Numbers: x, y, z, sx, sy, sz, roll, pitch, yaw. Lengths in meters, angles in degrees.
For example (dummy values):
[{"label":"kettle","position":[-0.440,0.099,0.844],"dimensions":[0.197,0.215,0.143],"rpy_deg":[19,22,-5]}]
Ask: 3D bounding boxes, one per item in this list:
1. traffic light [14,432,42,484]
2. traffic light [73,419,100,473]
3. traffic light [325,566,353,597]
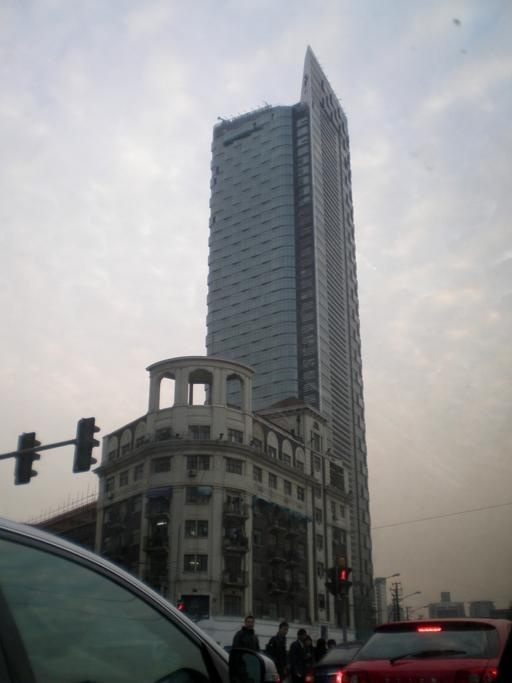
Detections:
[{"label":"traffic light","position":[-4.843,2.476,15.659],"dimensions":[0.473,1.073,0.769],"rpy_deg":[6,-18,-15]},{"label":"traffic light","position":[-3.498,2.152,15.288],"dimensions":[0.459,1.097,0.718],"rpy_deg":[5,-18,-13]},{"label":"traffic light","position":[1.519,4.381,13.419],"dimensions":[0.457,0.567,0.921],"rpy_deg":[-1,-16,5]}]
